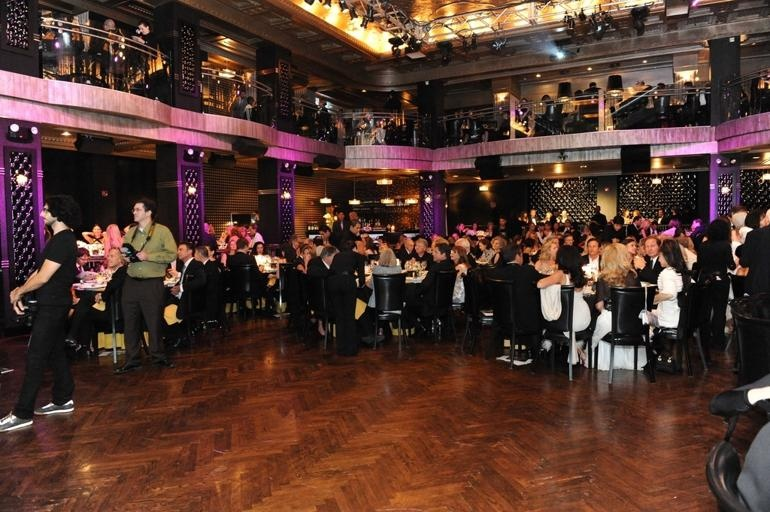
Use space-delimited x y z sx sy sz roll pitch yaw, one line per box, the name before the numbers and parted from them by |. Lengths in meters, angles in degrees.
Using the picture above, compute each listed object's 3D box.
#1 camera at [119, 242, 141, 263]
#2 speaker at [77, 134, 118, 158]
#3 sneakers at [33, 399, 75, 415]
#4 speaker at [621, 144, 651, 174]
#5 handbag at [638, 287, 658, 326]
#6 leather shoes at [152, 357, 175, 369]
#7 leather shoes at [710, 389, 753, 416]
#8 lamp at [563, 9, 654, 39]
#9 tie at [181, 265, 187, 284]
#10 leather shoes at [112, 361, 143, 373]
camera | -3.459 -0.016 8.217 0.255 0.246 0.066 4 44 10
speaker | -5.810 -2.204 12.012 0.622 0.440 0.403 8 2 -35
sneakers | -3.928 1.833 7.262 0.479 0.171 0.162 4 -3 -13
speaker | 6.432 -2.330 15.320 0.837 0.801 0.640 -2 -4 41
handbag | 3.550 0.688 8.108 0.198 0.576 0.609 -2 3 27
leather shoes | -3.179 1.554 8.676 0.284 0.116 0.129 4 3 -5
leather shoes | 2.604 1.104 4.579 0.293 0.166 0.202 -11 -31 27
lamp | 5.291 -5.600 14.489 1.405 0.444 1.011 -7 8 11
tie | -3.102 0.317 9.325 0.085 0.221 0.169 9 0 -34
leather shoes | -3.587 1.562 8.383 0.126 0.126 0.305 -1 -9 43
